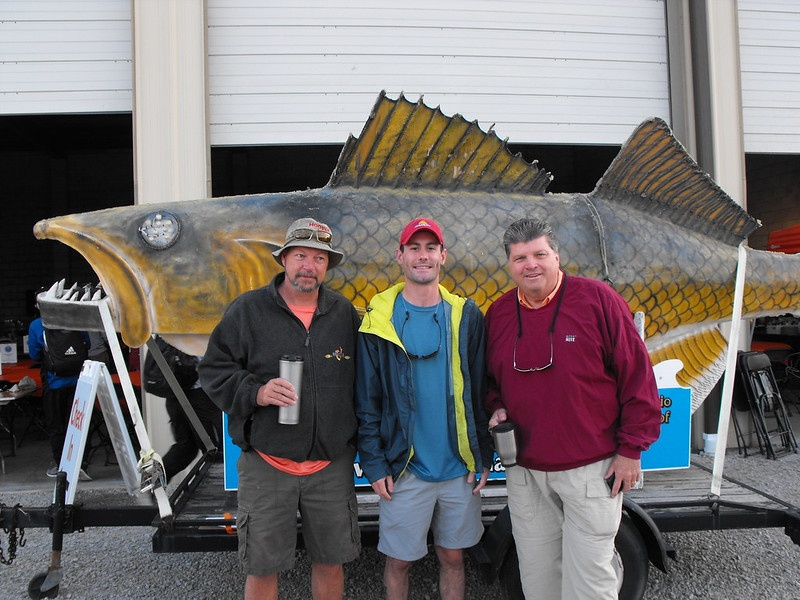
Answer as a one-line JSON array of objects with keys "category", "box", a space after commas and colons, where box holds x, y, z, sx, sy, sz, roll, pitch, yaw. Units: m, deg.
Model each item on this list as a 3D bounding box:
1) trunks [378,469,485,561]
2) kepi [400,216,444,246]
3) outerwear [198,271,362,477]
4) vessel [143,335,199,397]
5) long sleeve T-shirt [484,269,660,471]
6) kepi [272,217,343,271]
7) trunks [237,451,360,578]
[{"category": "trunks", "box": [0.222, 1.539, 5.605, 0.698, 0.678, 0.273, 0, -1, -6]}, {"category": "kepi", "box": [0.117, -0.540, 5.691, 0.281, 0.210, 0.463, 2, 19, -5]}, {"category": "outerwear", "box": [-0.762, 0.537, 5.750, 1.442, 1.331, 0.767, -2, 10, -33]}, {"category": "vessel", "box": [-1.978, 0.578, 6.752, 0.412, 0.561, 0.291, -13, 24, 9]}, {"category": "long sleeve T-shirt", "box": [1.181, 0.490, 5.740, 1.500, 1.352, 0.816, -3, 6, 36]}, {"category": "kepi", "box": [-0.656, -0.450, 5.677, 0.344, 0.235, 0.423, 4, -22, -10]}, {"category": "trunks", "box": [-0.728, 1.515, 5.539, 0.924, 1.126, 0.439, 1, -9, -15]}]
